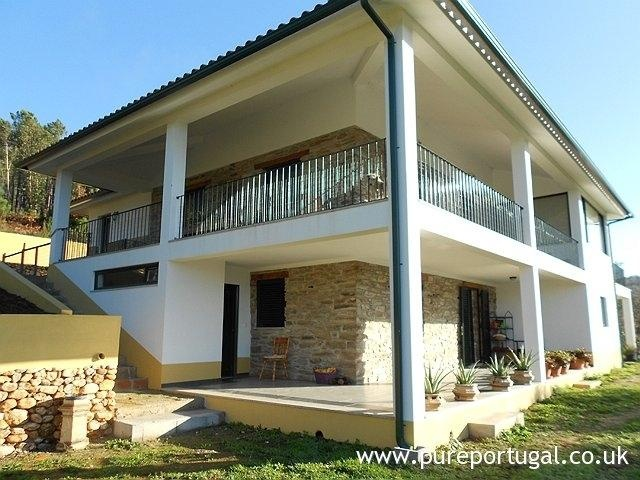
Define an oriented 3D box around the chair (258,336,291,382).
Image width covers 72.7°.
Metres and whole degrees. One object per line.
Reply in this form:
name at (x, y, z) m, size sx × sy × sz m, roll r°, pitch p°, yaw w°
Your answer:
chair at (-1.069, 2.760, 10.246) m, size 0.567 × 0.918 × 0.617 m, roll -2°, pitch -7°, yaw 24°
